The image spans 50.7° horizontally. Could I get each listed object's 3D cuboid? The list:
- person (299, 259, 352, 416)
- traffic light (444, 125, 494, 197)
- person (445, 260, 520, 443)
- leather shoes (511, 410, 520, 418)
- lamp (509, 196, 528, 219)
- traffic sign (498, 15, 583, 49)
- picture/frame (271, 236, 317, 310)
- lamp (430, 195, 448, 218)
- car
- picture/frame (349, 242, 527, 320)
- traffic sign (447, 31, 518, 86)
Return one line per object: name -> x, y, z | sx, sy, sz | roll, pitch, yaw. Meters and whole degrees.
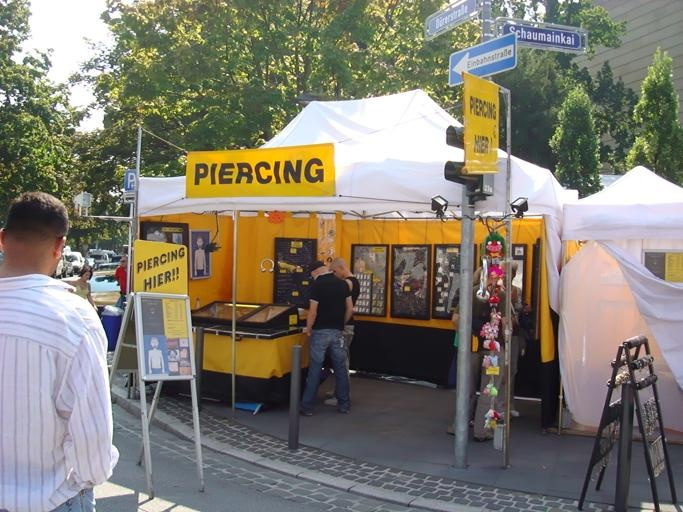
person -> -0.187, 1.128, 10.568 | 0.788, 1.993, 0.707 | 6, 7, 6
traffic light -> 1.481, -1.073, 8.333 | 0.372, 0.861, 0.679 | 7, 9, 43
person -> 1.816, 1.179, 9.239 | 0.743, 2.428, 0.900 | 0, 0, 19
leather shoes -> 2.497, 2.246, 10.320 | 0.090, 0.088, 0.205 | -3, -8, 14
lamp -> 2.116, -0.583, 8.579 | 0.193, 0.237, 0.345 | 2, 7, 13
traffic sign -> 2.448, -2.631, 8.572 | 0.995, 0.328, 0.213 | 0, 7, -5
picture/frame -> -0.873, 0.227, 12.907 | 0.585, 1.403, 0.404 | -5, 12, -44
lamp -> 1.178, -0.594, 8.595 | 0.191, 0.266, 0.377 | 1, 7, 7
car -> -7.724, 0.582, 22.349 | 1.299, 2.187, 1.359 | 10, 10, 32
picture/frame -> 1.124, 0.414, 12.499 | 2.641, 1.270, 0.699 | 7, 7, 31
traffic sign -> 1.658, -2.332, 8.556 | 0.189, 0.499, 1.031 | -5, 9, -38
